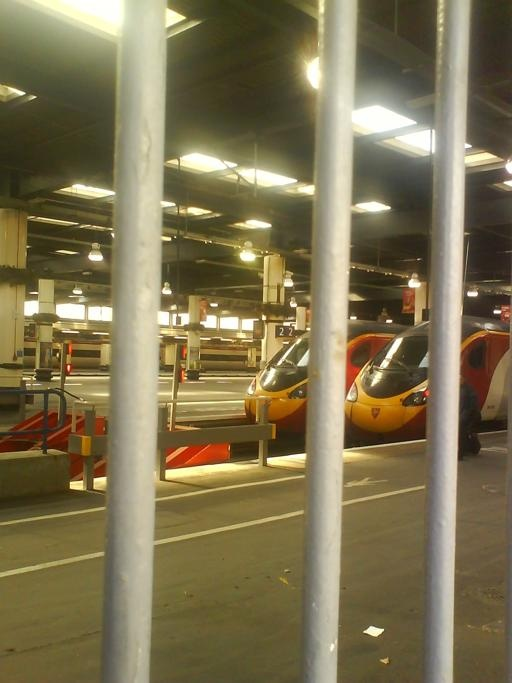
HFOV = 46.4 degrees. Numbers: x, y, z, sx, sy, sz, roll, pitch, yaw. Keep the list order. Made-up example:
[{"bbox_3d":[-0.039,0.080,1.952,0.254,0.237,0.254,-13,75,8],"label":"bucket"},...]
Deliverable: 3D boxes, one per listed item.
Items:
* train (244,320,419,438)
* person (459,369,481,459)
[{"bbox_3d":[2.089,0.955,17.648,7.219,2.511,1.960,6,-6,-43],"label":"train"},{"bbox_3d":[3.952,1.375,11.466,0.533,1.717,0.483,-1,-6,17],"label":"person"}]
